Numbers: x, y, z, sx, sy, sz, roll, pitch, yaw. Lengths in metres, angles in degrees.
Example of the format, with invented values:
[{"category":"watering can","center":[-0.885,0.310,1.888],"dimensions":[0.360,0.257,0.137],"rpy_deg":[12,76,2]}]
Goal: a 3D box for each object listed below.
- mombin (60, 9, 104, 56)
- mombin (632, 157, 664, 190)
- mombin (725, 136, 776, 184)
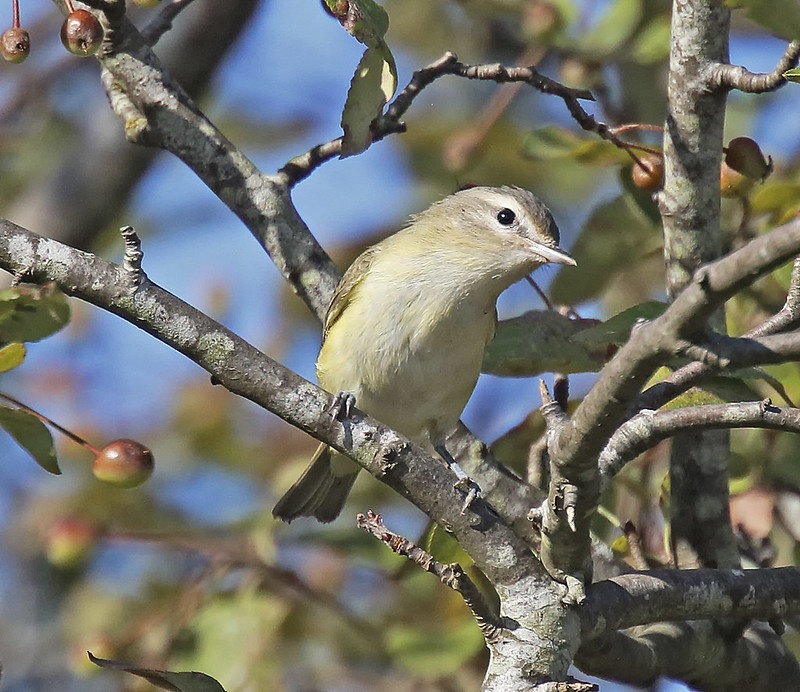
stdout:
[{"category":"mombin","center":[-1.255,-1.273,5.135],"dimensions":[0.147,0.191,0.195],"rpy_deg":[3,92,12]},{"category":"mombin","center":[1.045,-0.733,5.374],"dimensions":[0.136,0.182,0.133],"rpy_deg":[0,89,-14]},{"category":"mombin","center":[1.424,-0.772,5.298],"dimensions":[0.195,0.122,0.159],"rpy_deg":[34,56,3]}]
